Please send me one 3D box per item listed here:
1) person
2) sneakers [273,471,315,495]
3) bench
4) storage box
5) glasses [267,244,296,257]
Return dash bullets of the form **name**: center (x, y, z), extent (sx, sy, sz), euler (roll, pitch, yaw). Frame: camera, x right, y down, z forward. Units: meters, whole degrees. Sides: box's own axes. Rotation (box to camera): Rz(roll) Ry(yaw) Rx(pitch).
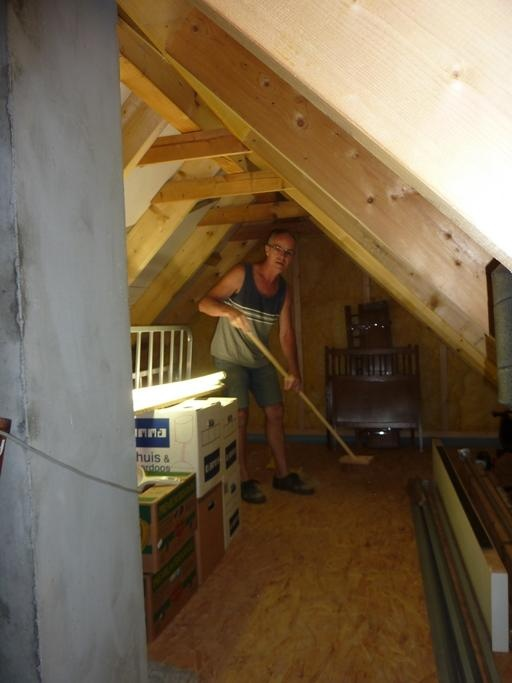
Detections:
- **person**: center (-0.007, 0.058, 3.174), extent (0.558, 1.538, 0.616), euler (0, 0, -5)
- **sneakers**: center (0.214, 0.821, 3.231), extent (0.091, 0.100, 0.240), euler (8, -11, -42)
- **bench**: center (0.987, 0.427, 4.633), extent (0.815, 0.818, 0.529), euler (2, 6, 12)
- **storage box**: center (-0.276, 0.572, 2.068), extent (0.312, 0.744, 0.976), euler (-2, 0, 4)
- **glasses**: center (0.128, -0.489, 3.016), extent (0.140, 0.062, 0.094), euler (-3, 0, -1)
